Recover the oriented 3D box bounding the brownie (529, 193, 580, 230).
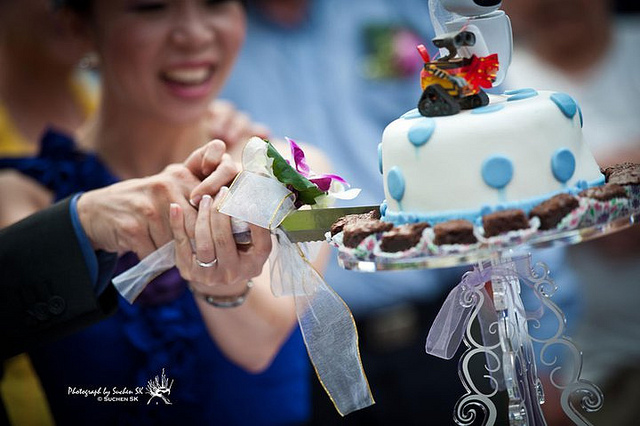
[{"bbox_3d":[0.929,-0.002,3.388,0.199,0.104,0.068,-16,18,-15],"label":"brownie"}]

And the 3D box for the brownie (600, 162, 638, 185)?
[{"bbox_3d":[1.241,-0.170,3.556,0.093,0.050,0.127,-2,7,-8],"label":"brownie"}]

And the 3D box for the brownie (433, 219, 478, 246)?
[{"bbox_3d":[0.528,0.083,3.388,0.117,0.063,0.112,-6,-9,34],"label":"brownie"}]

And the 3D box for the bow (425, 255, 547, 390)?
[{"bbox_3d":[0.746,0.395,3.789,0.275,0.694,0.412,-3,6,-38],"label":"bow"}]

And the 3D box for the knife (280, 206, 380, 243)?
[{"bbox_3d":[0.046,0.048,3.807,0.573,0.167,0.066,0,-2,8],"label":"knife"}]

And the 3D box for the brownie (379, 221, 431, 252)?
[{"bbox_3d":[0.336,0.099,3.439,0.205,0.087,0.078,-7,18,12],"label":"brownie"}]

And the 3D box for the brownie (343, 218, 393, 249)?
[{"bbox_3d":[0.184,0.078,3.519,0.156,0.054,0.120,-5,12,-10],"label":"brownie"}]

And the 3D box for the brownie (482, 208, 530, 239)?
[{"bbox_3d":[0.730,0.040,3.379,0.178,0.082,0.045,-10,17,4],"label":"brownie"}]
